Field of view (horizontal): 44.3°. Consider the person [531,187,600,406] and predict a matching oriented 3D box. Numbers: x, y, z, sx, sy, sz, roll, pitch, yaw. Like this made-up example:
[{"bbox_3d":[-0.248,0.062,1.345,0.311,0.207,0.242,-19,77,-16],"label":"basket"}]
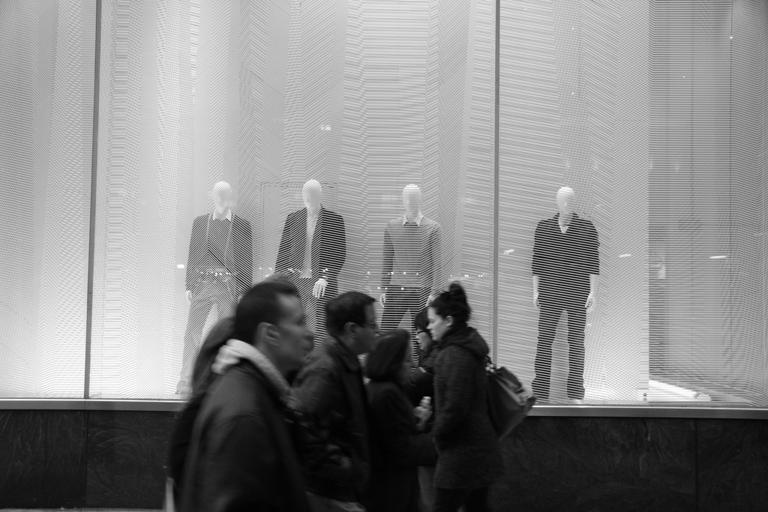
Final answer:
[{"bbox_3d":[1.863,0.383,9.764,0.669,2.210,0.210,0,-9,7],"label":"person"}]
